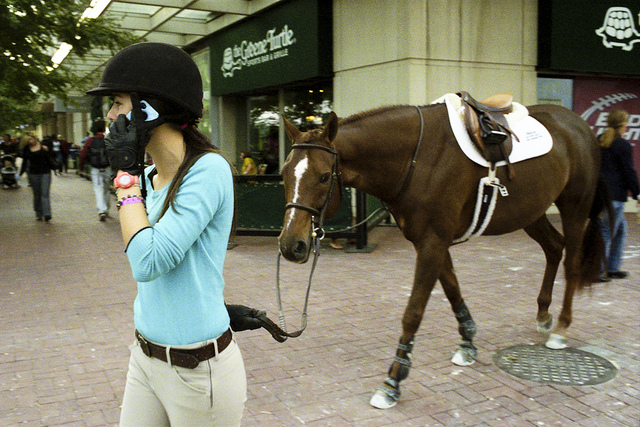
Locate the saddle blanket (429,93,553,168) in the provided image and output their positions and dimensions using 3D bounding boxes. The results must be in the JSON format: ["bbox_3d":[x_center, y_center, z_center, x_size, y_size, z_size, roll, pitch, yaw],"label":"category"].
[{"bbox_3d":[2.063,-0.905,6.921,1.412,0.425,0.868,-1,14,-31],"label":"saddle blanket"}]

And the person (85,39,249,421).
[{"bbox_3d":[-1.057,0.149,4.373,0.965,2.654,0.790,-1,16,2],"label":"person"}]

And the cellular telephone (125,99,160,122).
[{"bbox_3d":[-1.247,-0.707,4.292,0.203,0.098,0.133,31,41,-8],"label":"cellular telephone"}]

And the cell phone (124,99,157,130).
[{"bbox_3d":[-1.250,-0.685,4.227,0.229,0.095,0.156,8,50,49],"label":"cell phone"}]
